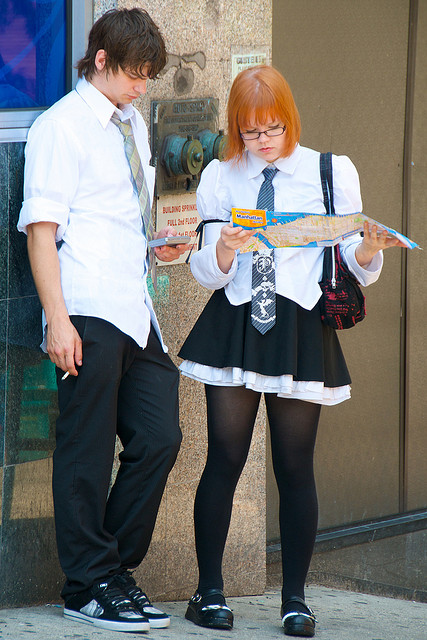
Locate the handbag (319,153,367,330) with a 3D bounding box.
[{"bbox_3d":[0.400,-0.214,2.524,0.158,0.540,0.283,2,14,6],"label":"handbag"}]

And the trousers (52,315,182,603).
[{"bbox_3d":[-0.294,0.404,2.588,0.463,0.864,0.365,-5,15,-25],"label":"trousers"}]

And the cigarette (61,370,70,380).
[{"bbox_3d":[-0.457,0.171,2.490,0.010,0.043,0.011,31,28,-10],"label":"cigarette"}]

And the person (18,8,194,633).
[{"bbox_3d":[-0.341,-0.008,2.507,0.515,1.789,0.722,0,14,-3],"label":"person"}]

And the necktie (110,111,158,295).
[{"bbox_3d":[-0.255,-0.367,2.734,0.138,0.606,0.250,3,14,10],"label":"necktie"}]
